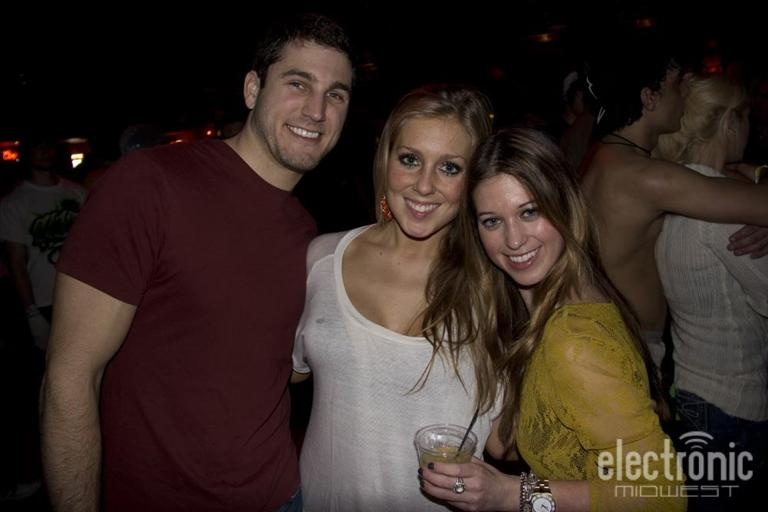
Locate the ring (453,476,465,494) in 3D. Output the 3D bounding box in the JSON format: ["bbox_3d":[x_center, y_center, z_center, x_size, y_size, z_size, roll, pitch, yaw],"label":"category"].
[{"bbox_3d":[0.424,1.268,3.201,0.061,0.080,0.033,0,-1,2],"label":"ring"}]
